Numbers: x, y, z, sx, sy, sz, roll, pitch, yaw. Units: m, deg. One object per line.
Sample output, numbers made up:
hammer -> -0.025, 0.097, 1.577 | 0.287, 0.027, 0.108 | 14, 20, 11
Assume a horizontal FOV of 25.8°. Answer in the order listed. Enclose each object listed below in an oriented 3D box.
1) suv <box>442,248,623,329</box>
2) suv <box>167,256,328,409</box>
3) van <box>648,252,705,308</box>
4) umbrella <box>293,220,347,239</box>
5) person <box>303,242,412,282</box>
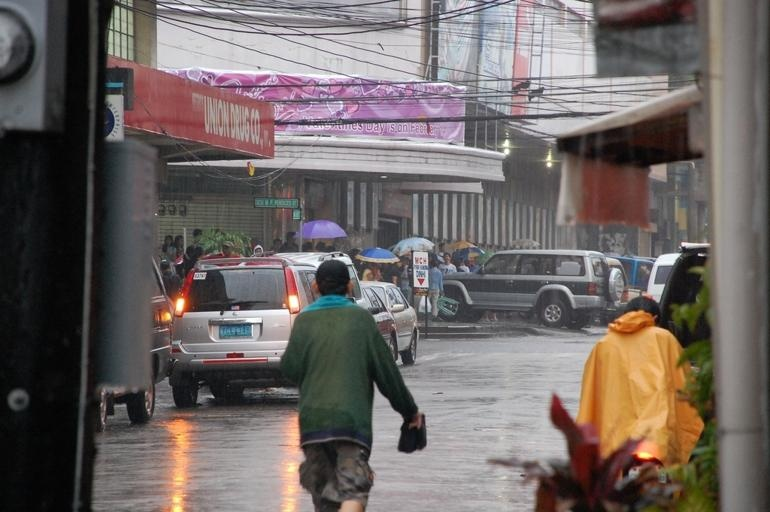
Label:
suv -> 3.269, 0.680, 36.879 | 3.342, 1.410, 1.665 | 4, 3, 28
suv -> -1.380, 0.989, 20.621 | 1.638, 1.744, 3.235 | -2, -4, 13
van -> 5.716, 0.730, 32.989 | 1.353, 1.344, 2.142 | 0, 4, 10
umbrella -> -1.356, -0.538, 36.961 | 0.896, 0.369, 1.284 | 5, 4, 5
person -> -0.393, 0.120, 30.822 | 1.500, 0.496, 0.961 | 0, 2, 16
